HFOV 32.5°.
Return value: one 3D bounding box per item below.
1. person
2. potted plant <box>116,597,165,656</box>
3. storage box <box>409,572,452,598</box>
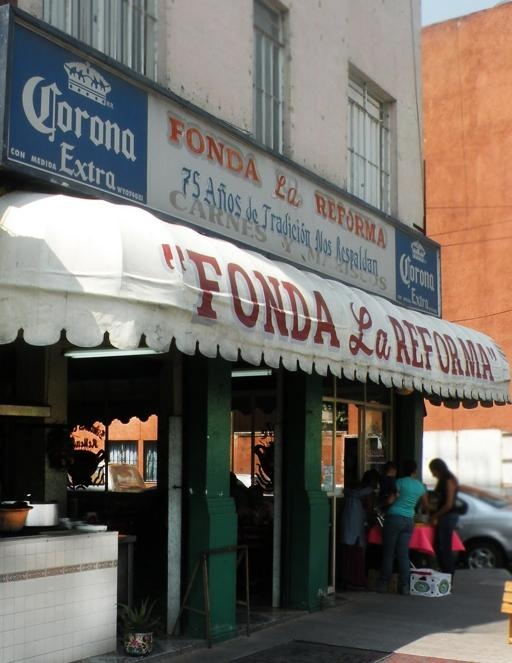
[{"bbox_3d":[1.772,2.509,11.127,0.879,2.661,0.701,9,-1,2],"label":"person"},{"bbox_3d":[-0.932,2.397,7.064,0.315,0.481,0.389,-1,-7,-2],"label":"potted plant"},{"bbox_3d":[2.123,3.056,10.715,0.534,0.367,0.449,-9,-13,1],"label":"storage box"}]
